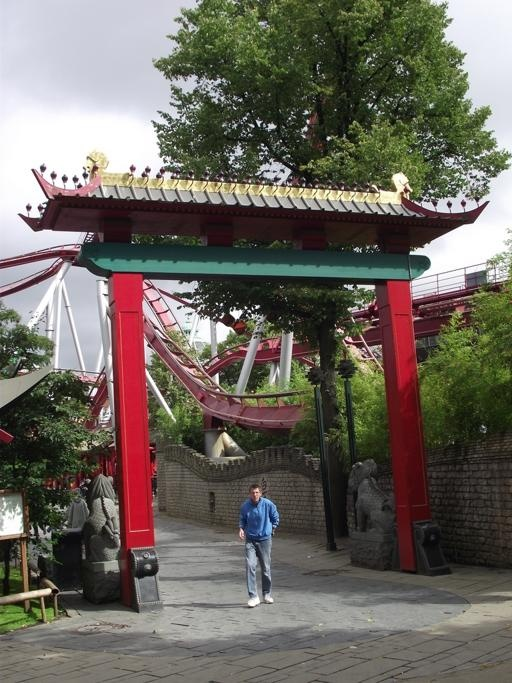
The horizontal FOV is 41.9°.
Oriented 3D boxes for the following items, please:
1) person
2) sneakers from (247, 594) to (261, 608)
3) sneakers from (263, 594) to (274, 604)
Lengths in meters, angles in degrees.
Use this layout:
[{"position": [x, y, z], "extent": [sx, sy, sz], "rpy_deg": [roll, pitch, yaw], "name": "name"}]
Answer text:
[{"position": [0.051, 2.418, 7.958], "extent": [0.448, 1.419, 0.833], "rpy_deg": [-4, -7, 1], "name": "person"}, {"position": [-0.033, 3.001, 7.732], "extent": [0.078, 0.082, 0.208], "rpy_deg": [-5, -16, 13], "name": "sneakers"}, {"position": [0.136, 3.056, 7.961], "extent": [0.123, 0.112, 0.281], "rpy_deg": [1, -20, -9], "name": "sneakers"}]
